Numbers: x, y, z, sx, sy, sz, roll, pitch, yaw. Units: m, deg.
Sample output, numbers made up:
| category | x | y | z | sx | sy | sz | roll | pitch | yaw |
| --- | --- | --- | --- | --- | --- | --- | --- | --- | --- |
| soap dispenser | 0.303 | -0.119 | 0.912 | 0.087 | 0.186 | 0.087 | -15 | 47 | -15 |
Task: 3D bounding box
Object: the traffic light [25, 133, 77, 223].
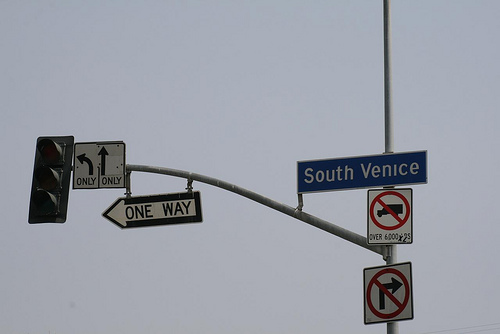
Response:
| category | x | y | z | sx | sy | sz | roll | pitch | yaw |
| --- | --- | --- | --- | --- | --- | --- | --- | --- | --- |
| traffic light | -3.873 | 0.224 | 24.004 | 0.846 | 1.681 | 0.507 | 1 | -21 | -11 |
